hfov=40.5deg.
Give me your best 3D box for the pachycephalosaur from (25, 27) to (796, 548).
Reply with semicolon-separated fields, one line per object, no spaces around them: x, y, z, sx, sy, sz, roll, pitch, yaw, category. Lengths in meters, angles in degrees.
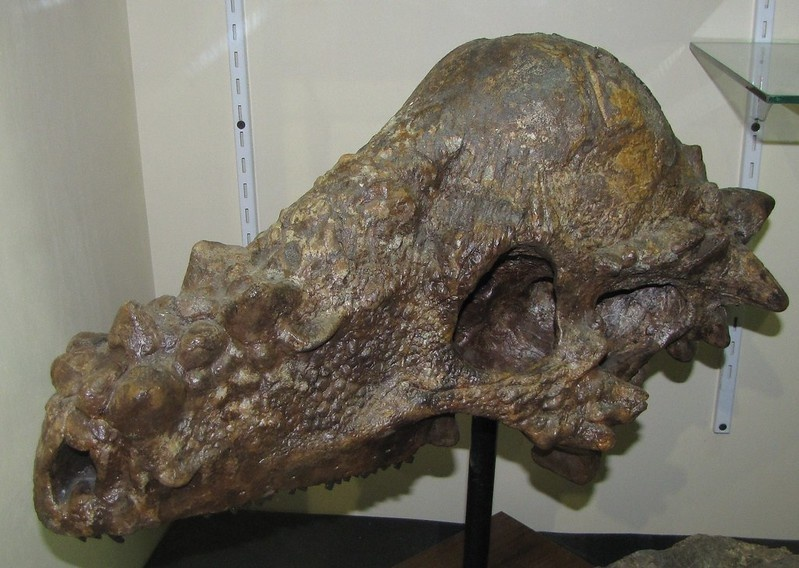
-0.013;0.090;2.312;1.469;0.775;0.905;-20;42;-22;pachycephalosaur
